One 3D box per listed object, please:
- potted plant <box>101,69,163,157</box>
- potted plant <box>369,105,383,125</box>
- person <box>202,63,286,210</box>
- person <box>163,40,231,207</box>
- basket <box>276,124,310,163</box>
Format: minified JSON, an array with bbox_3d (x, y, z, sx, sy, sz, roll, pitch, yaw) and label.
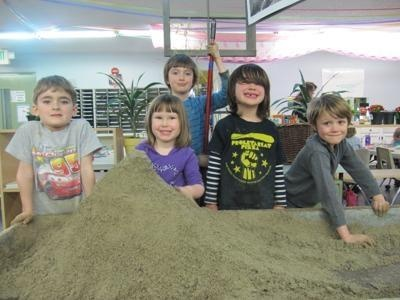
[{"bbox_3d":[-0.618,-0.317,3.186,0.590,0.764,0.463,1,-2,-34],"label":"potted plant"},{"bbox_3d":[2.341,-0.461,4.660,0.219,0.262,0.228,1,0,1],"label":"potted plant"},{"bbox_3d":[0.221,0.109,1.694,0.382,1.057,0.224,3,-14,1],"label":"person"},{"bbox_3d":[-0.035,-0.035,1.934,0.422,1.136,0.270,-2,-12,-7],"label":"person"},{"bbox_3d":[0.550,-0.043,2.245,0.228,0.196,0.243,7,1,-35],"label":"basket"}]
